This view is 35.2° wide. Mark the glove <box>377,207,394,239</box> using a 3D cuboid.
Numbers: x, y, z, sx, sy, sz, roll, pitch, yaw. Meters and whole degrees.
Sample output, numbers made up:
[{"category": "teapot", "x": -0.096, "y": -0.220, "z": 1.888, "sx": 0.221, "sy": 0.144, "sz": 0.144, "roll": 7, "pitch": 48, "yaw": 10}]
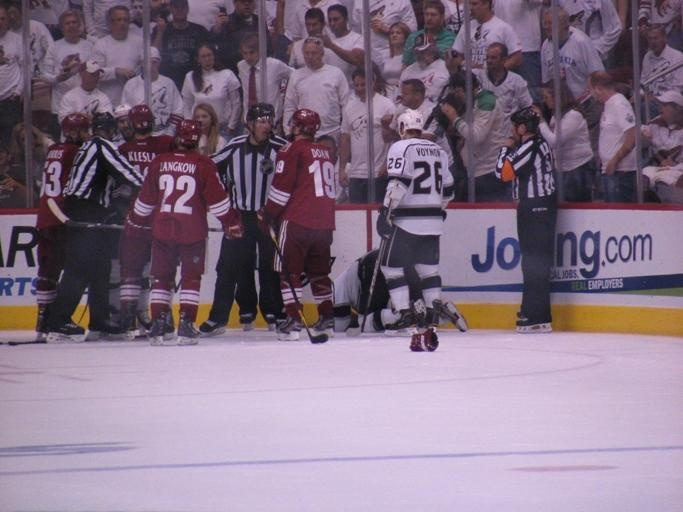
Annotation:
[{"category": "glove", "x": 0.360, "y": -0.270, "z": 9.055, "sx": 0.092, "sy": 0.249, "sz": 0.145, "roll": 4, "pitch": 1, "yaw": -18}]

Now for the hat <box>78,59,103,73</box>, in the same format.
[{"category": "hat", "x": -2.563, "y": -1.936, "z": 11.008, "sx": 0.171, "sy": 0.092, "sz": 0.124, "roll": 7, "pitch": 12, "yaw": 27}]

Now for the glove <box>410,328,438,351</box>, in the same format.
[{"category": "glove", "x": 0.666, "y": 0.666, "z": 8.701, "sx": 0.228, "sy": 0.218, "sz": 0.298, "roll": -1, "pitch": 8, "yaw": 4}]

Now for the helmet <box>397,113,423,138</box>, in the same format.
[{"category": "helmet", "x": 0.604, "y": -1.124, "z": 9.244, "sx": 0.157, "sy": 0.206, "sz": 0.210, "roll": 0, "pitch": 15, "yaw": -12}]

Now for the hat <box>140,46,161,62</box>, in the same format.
[{"category": "hat", "x": -1.893, "y": -2.045, "z": 10.922, "sx": 0.097, "sy": 0.134, "sz": 0.100, "roll": -10, "pitch": 14, "yaw": -27}]

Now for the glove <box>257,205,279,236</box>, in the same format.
[{"category": "glove", "x": -0.646, "y": -0.307, "z": 9.446, "sx": 0.080, "sy": 0.226, "sz": 0.161, "roll": -40, "pitch": -9, "yaw": -15}]

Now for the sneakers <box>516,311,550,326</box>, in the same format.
[{"category": "sneakers", "x": 1.813, "y": 0.596, "z": 10.108, "sx": 0.342, "sy": 0.156, "sz": 0.123, "roll": 9, "pitch": -12, "yaw": -11}]

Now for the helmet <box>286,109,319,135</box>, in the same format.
[{"category": "helmet", "x": -0.322, "y": -1.202, "z": 9.489, "sx": 0.238, "sy": 0.237, "sz": 0.185, "roll": 34, "pitch": 48, "yaw": 31}]

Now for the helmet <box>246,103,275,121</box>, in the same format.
[{"category": "helmet", "x": -0.719, "y": -1.268, "z": 9.611, "sx": 0.191, "sy": 0.195, "sz": 0.151, "roll": -13, "pitch": 21, "yaw": 9}]

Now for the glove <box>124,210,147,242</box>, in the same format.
[{"category": "glove", "x": -1.783, "y": -0.268, "z": 9.372, "sx": 0.233, "sy": 0.291, "sz": 0.337, "roll": -2, "pitch": 8, "yaw": -7}]

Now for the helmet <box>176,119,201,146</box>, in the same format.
[{"category": "helmet", "x": -1.294, "y": -1.034, "z": 9.119, "sx": 0.155, "sy": 0.120, "sz": 0.262, "roll": 17, "pitch": 35, "yaw": -19}]

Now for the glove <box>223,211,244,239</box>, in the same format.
[{"category": "glove", "x": -0.931, "y": -0.276, "z": 9.265, "sx": 0.136, "sy": 0.250, "sz": 0.103, "roll": -5, "pitch": 20, "yaw": -8}]
